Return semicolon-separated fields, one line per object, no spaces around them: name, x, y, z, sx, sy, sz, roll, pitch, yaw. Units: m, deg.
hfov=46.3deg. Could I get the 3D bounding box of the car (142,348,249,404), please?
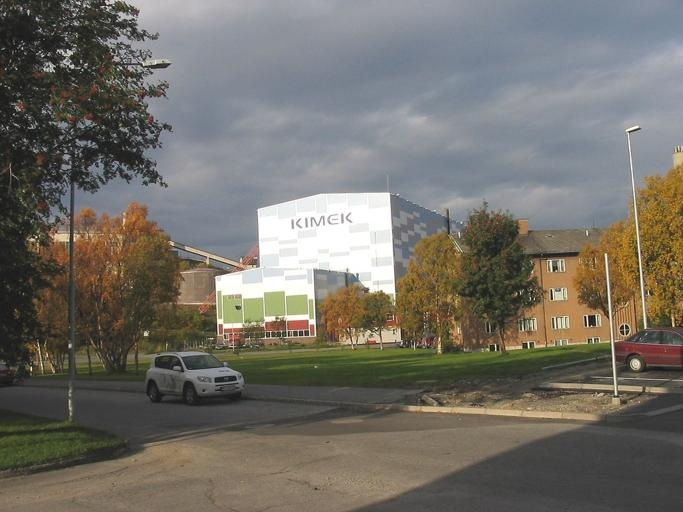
car;-5.895;4.747;31.646;1.896;1.682;3.596;5;-11;-43
